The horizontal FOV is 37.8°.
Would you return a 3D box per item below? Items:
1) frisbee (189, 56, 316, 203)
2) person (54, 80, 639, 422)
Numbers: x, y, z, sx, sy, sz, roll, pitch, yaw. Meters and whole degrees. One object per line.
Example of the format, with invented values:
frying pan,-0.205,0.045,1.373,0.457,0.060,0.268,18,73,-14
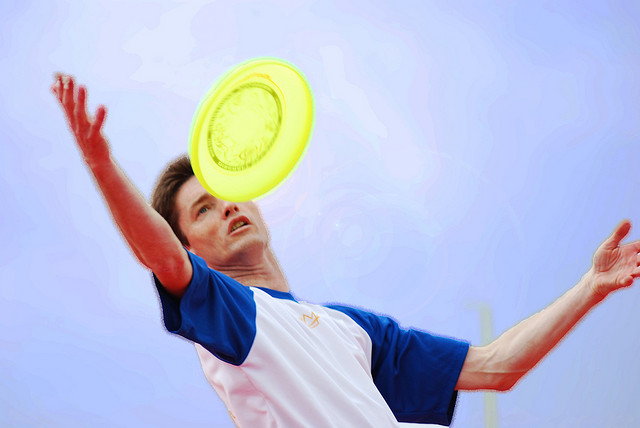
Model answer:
frisbee,-0.181,-0.367,3.502,0.580,0.158,0.661,-21,-21,-29
person,0.009,0.250,3.410,1.999,0.959,0.547,8,-25,-15
